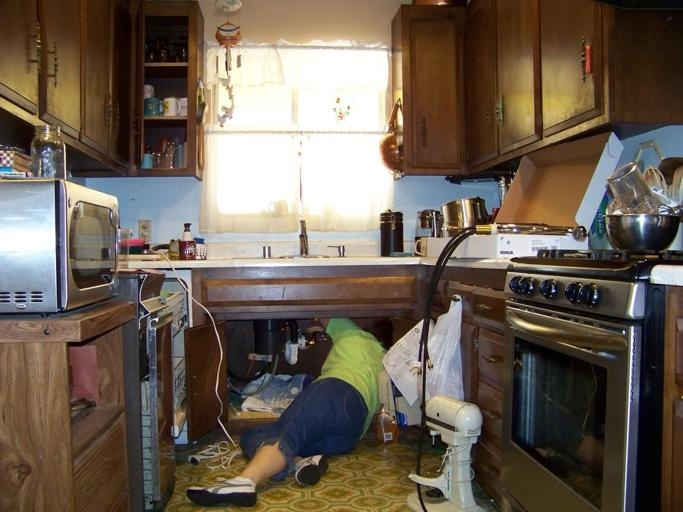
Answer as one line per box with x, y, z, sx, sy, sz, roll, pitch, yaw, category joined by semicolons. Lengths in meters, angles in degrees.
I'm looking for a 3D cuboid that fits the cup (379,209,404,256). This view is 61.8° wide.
0.321;-0.138;3.622;0.138;0.285;0.167;0;7;2;cup

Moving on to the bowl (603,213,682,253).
1.014;-0.083;1.909;0.164;0.094;0.173;1;-1;0;bowl

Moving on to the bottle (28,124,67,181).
-0.980;-0.348;1.894;0.102;0.173;0.202;-4;9;-30;bottle

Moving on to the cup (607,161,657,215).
1.019;-0.243;2.021;0.162;0.170;0.126;7;10;44;cup

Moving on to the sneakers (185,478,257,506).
-0.471;0.963;2.314;0.284;0.133;0.119;3;-26;1;sneakers

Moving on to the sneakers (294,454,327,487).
-0.137;0.965;2.581;0.145;0.113;0.170;0;8;-1;sneakers

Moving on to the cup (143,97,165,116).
-1.159;-0.922;3.507;0.080;0.097;0.128;4;6;37;cup

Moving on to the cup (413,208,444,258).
0.547;-0.161;3.611;0.153;0.278;0.576;1;8;7;cup

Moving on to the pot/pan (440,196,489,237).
0.644;-0.212;2.924;0.224;0.182;0.183;-7;-4;0;pot/pan

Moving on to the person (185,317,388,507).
-0.120;0.743;2.670;0.480;0.278;0.899;16;25;18;person

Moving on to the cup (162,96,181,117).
-1.063;-0.923;3.535;0.130;0.131;0.084;1;-2;-34;cup

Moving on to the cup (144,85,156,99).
-1.202;-1.015;3.584;0.082;0.085;0.086;1;-1;0;cup
